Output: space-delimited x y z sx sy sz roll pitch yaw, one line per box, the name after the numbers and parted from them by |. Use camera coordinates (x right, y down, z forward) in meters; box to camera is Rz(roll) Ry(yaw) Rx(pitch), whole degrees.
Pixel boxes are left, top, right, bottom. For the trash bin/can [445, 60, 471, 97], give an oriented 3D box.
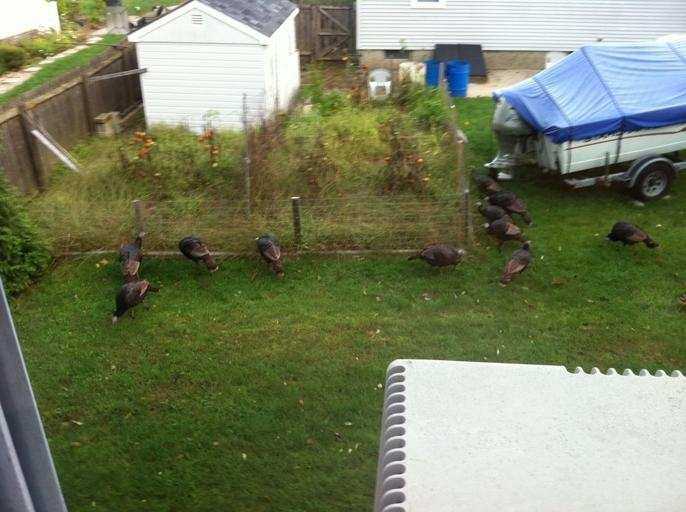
3.762 -5.986 20.099 0.903 0.895 0.949 21 28 40 | trash bin/can

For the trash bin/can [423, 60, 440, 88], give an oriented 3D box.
3.209 -6.455 20.812 0.489 0.771 0.394 -2 19 11 | trash bin/can

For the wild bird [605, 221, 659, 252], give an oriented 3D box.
5.367 -0.413 11.084 0.956 0.485 0.433 -3 5 43 | wild bird

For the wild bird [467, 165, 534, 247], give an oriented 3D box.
3.338 -1.021 12.423 0.686 1.902 1.195 -40 22 31 | wild bird

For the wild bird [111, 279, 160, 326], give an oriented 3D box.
-3.642 0.650 10.104 0.640 0.364 0.981 13 44 6 | wild bird

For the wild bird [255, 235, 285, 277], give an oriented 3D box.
-1.370 -0.016 10.977 0.391 0.354 0.888 -18 58 -20 | wild bird

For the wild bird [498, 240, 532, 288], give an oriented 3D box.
3.131 0.157 10.457 0.758 0.710 0.276 -20 24 -39 | wild bird

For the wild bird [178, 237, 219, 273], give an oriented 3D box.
-2.731 -0.021 11.068 0.715 0.666 0.301 4 21 25 | wild bird

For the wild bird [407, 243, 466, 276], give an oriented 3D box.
1.836 -0.009 10.967 1.168 0.435 0.421 15 21 -1 | wild bird
